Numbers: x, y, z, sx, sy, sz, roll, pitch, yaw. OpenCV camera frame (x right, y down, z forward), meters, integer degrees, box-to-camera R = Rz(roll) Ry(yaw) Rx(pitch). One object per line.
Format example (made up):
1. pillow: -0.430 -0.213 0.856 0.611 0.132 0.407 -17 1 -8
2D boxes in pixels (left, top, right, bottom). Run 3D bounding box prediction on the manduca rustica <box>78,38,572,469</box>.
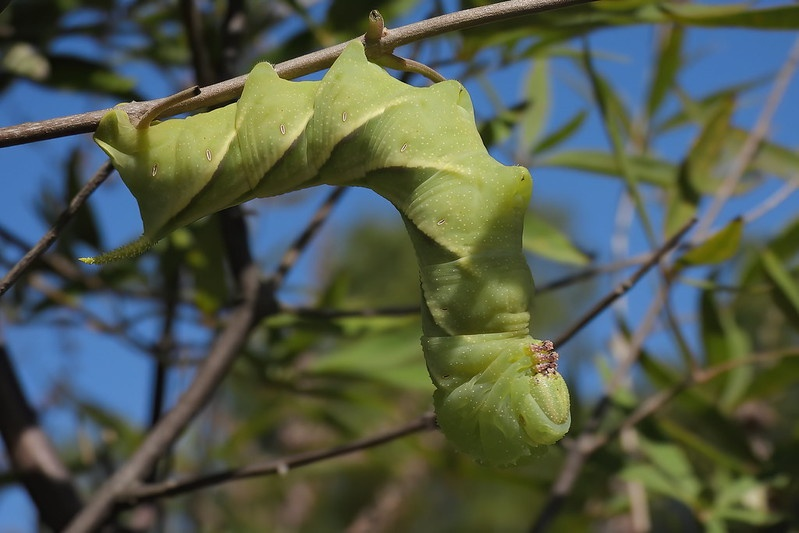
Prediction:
1. manduca rustica: -0.088 -0.077 2.149 1.006 0.530 0.414 22 -40 -6
